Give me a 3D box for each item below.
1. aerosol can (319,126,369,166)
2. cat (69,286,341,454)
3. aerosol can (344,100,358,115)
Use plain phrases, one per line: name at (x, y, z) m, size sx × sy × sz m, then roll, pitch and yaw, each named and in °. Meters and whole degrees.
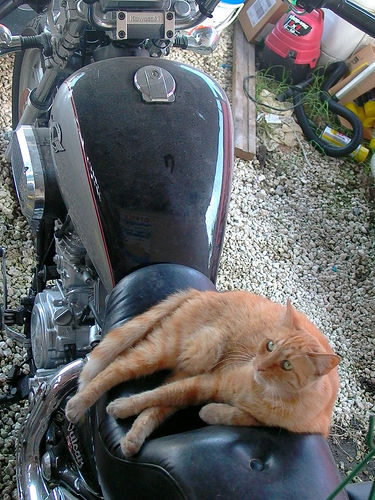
aerosol can at (1.000, -0.703, 2.651) m, size 0.401 × 0.145 × 0.144 m, roll 28°, pitch 85°, yaw 2°
cat at (0.031, 0.086, 0.447) m, size 0.245 × 0.097 × 0.244 m, roll 5°, pitch 29°, yaw 5°
aerosol can at (1.092, -0.959, 2.736) m, size 0.067 × 0.027 × 0.087 m, roll 12°, pitch 64°, yaw -52°
